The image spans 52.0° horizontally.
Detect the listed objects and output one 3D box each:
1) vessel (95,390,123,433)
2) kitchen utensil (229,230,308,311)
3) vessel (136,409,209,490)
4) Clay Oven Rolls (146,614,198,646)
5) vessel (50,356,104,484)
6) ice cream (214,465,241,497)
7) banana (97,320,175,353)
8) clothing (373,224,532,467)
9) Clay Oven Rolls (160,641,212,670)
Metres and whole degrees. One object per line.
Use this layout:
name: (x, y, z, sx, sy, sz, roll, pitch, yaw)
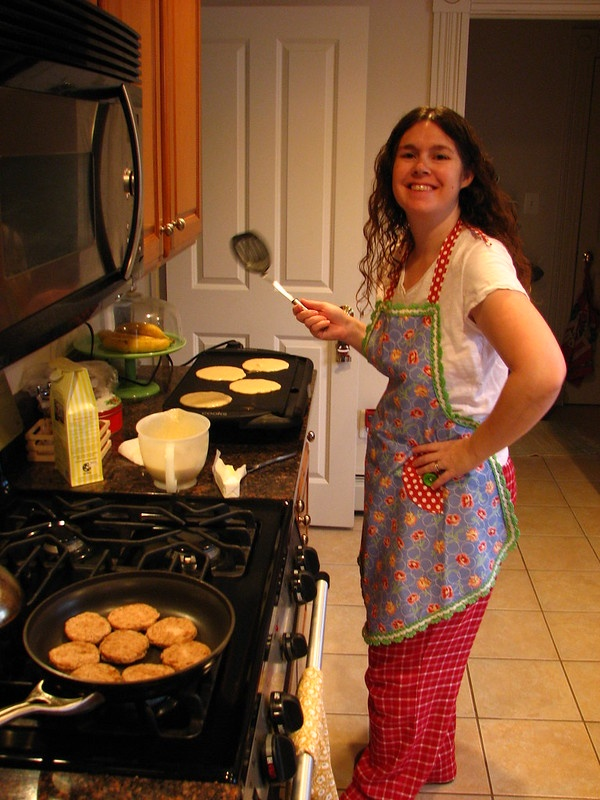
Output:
vessel: (-0.437, 0.032, 1.479, 0.083, 0.083, 0.082, 1, 24, 3)
kitchen utensil: (-0.109, -0.432, 1.956, 0.088, 0.075, 0.432, -13, -5, 13)
vessel: (-0.240, 0.116, 1.158, 0.126, 0.126, 0.196, 0, 19, -7)
Clay Oven Rolls: (-0.139, 0.247, 0.668, 0.035, 0.010, 0.029, -2, 17, -28)
vessel: (-0.434, 0.049, 1.191, 0.088, 0.248, 0.189, -9, 20, -27)
ice cream: (-0.127, 0.148, 1.160, 0.035, 0.021, 0.059, -2, 33, -16)
banana: (-0.465, -0.177, 1.743, 0.143, 0.054, 0.113, 0, 18, -1)
clothing: (0.297, -0.103, 1.199, 0.105, 0.427, 0.246, -3, -4, -26)
Clay Oven Rolls: (-0.115, 0.256, 0.624, 0.046, 0.014, 0.035, -2, 21, 0)
